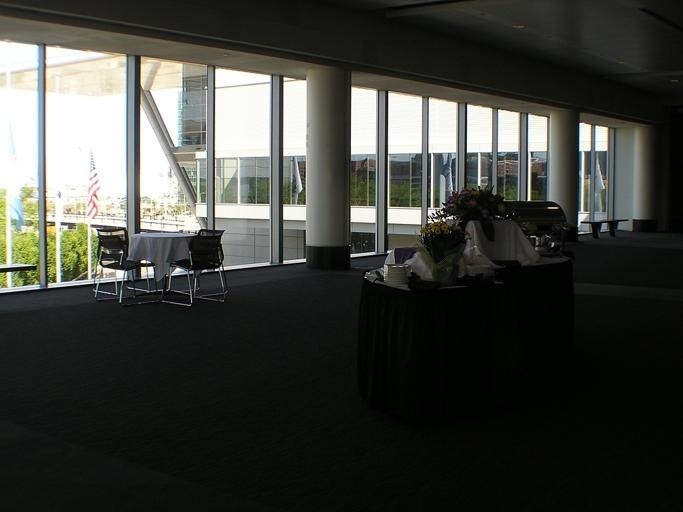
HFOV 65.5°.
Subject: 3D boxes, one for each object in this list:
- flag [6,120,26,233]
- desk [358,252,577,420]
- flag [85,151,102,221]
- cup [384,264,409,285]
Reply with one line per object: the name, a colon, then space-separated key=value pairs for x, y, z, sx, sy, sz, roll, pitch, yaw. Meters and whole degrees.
flag: x=-5.181 y=-1.259 z=8.400 sx=0.211 sy=1.690 sz=0.037 roll=-3 pitch=6 yaw=-32
desk: x=1.176 y=0.611 z=4.323 sx=2.043 sy=1.022 sz=0.793 roll=-3 pitch=6 yaw=-27
flag: x=-4.322 y=-1.212 z=9.192 sx=0.235 sy=1.144 sz=0.049 roll=-5 pitch=8 yaw=-45
cup: x=0.408 y=0.134 z=3.981 sx=0.154 sy=0.110 sz=0.154 roll=0 pitch=2 yaw=0
